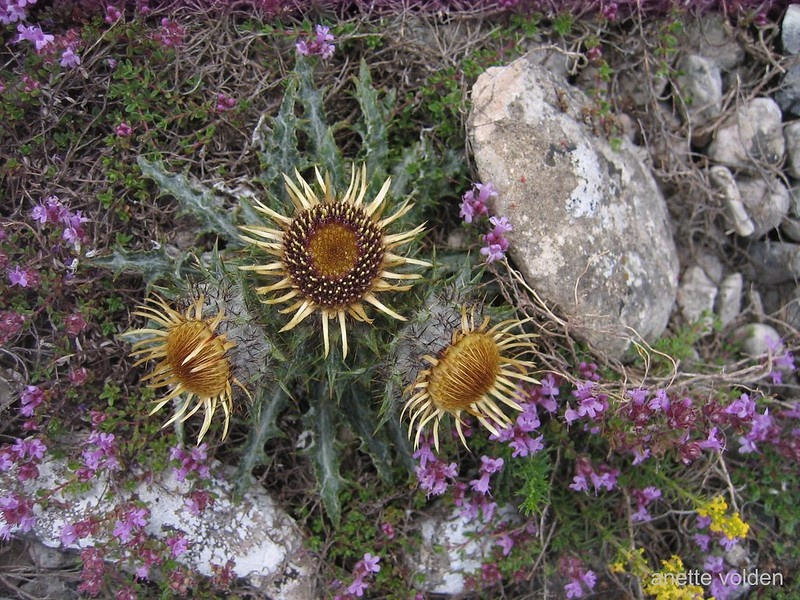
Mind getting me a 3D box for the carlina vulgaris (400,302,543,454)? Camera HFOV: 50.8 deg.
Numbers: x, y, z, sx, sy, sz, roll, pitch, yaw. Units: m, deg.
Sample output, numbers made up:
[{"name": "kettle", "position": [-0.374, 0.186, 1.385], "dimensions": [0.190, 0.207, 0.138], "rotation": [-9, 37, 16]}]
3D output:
[{"name": "carlina vulgaris", "position": [0.637, 0.778, 7.313], "dimensions": [1.190, 1.552, 0.894], "rotation": [-28, 61, -1]}]
